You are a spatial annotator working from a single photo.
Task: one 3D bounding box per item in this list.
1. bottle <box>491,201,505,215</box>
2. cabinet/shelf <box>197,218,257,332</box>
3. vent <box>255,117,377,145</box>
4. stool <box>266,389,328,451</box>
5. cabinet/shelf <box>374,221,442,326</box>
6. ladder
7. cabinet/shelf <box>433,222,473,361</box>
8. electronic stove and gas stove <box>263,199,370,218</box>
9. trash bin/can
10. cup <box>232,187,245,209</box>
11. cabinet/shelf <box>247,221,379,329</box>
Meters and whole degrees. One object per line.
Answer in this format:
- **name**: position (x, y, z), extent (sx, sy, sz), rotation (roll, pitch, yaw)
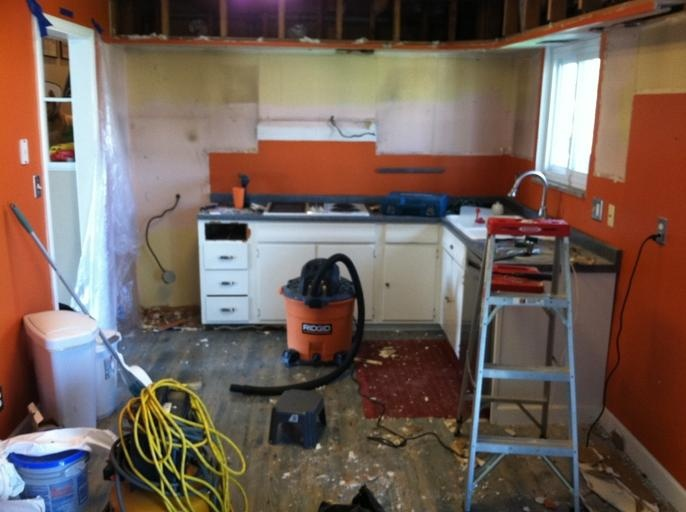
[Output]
- **bottle**: position (1.447, -0.457, 5.285), extent (0.128, 0.135, 0.128), rotation (-1, 4, -4)
- **cabinet/shelf**: position (-1.132, 0.174, 5.476), extent (0.523, 0.974, 0.499), rotation (0, -3, -20)
- **vent**: position (-0.264, -1.257, 5.608), extent (1.158, 0.225, 0.212), rotation (0, 14, 8)
- **stool**: position (-0.319, 1.106, 3.833), extent (0.346, 0.245, 0.352), rotation (1, 12, 0)
- **cabinet/shelf**: position (0.529, 0.088, 5.955), extent (0.749, 1.424, 0.752), rotation (0, 8, 0)
- **ladder**: position (1.102, 0.584, 3.482), extent (0.765, 1.679, 1.030), rotation (4, 15, 20)
- **cabinet/shelf**: position (0.926, 0.266, 4.777), extent (0.407, 0.946, 1.063), rotation (1, 9, 3)
- **electronic stove and gas stove**: position (-0.255, -0.469, 5.481), extent (0.976, 0.097, 0.587), rotation (-2, 13, -2)
- **trash bin/can**: position (-1.895, 0.765, 3.878), extent (0.479, 0.734, 0.378), rotation (10, 18, 38)
- **cup**: position (-1.026, -0.592, 5.550), extent (0.130, 0.196, 0.311), rotation (-4, 14, -11)
- **cabinet/shelf**: position (-0.270, 0.078, 5.527), extent (1.203, 1.070, 0.438), rotation (0, 20, -1)
